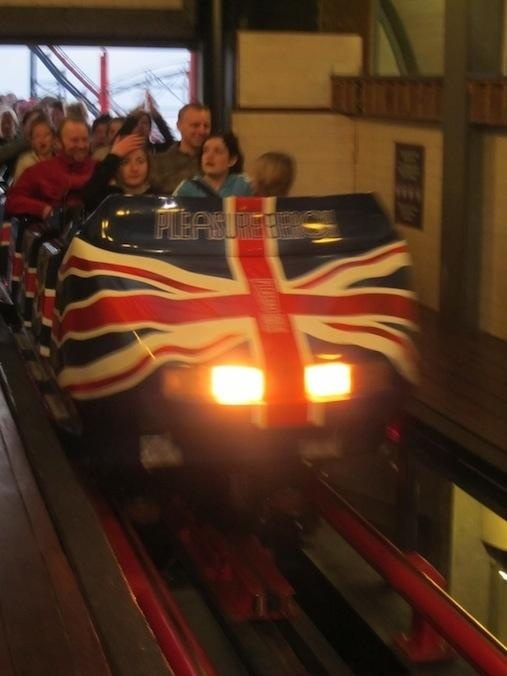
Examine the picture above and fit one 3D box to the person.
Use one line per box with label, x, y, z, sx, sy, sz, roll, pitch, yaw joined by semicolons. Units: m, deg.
person;-0.681;-0.754;3.071;1.449;0.574;1.001;-4;14;-13
